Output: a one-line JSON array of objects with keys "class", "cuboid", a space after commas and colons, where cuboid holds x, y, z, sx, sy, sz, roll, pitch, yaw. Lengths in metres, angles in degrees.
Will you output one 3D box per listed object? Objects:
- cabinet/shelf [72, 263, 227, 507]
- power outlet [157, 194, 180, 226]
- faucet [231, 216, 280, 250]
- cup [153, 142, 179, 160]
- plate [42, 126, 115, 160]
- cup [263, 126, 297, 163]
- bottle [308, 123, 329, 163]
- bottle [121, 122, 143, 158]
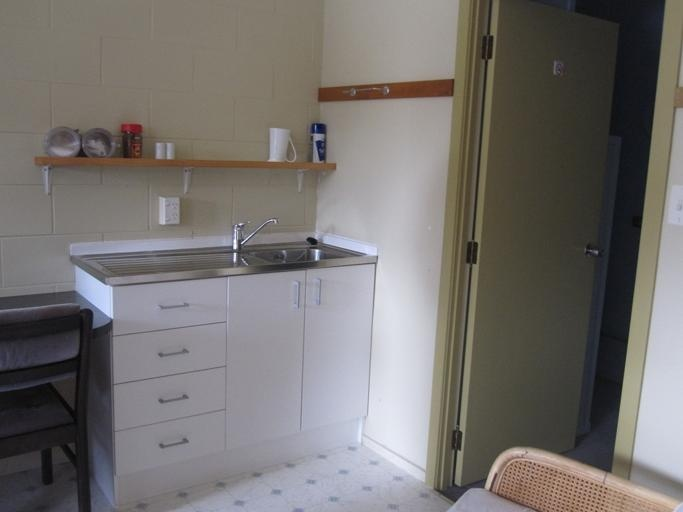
[{"class": "cabinet/shelf", "cuboid": [-0.975, 0.620, 2.940, 0.737, 1.126, 0.735, 0, 8, -10]}, {"class": "power outlet", "cuboid": [-0.972, -0.258, 3.083, 0.157, 0.225, 0.072, -4, 6, -40]}, {"class": "faucet", "cuboid": [-0.540, -0.130, 3.355, 0.129, 0.164, 0.321, 8, 12, 43]}, {"class": "cup", "cuboid": [-0.955, -0.564, 2.989, 0.098, 0.095, 0.100, 2, 5, 0]}, {"class": "plate", "cuboid": [-1.320, -0.572, 2.789, 0.321, 0.143, 0.059, -6, 10, -32]}, {"class": "cup", "cuboid": [-0.349, -0.672, 3.360, 0.240, 0.201, 0.172, -6, 10, -32]}, {"class": "bottle", "cuboid": [-0.142, -0.698, 3.438, 0.105, 0.241, 0.183, -1, 9, -8]}, {"class": "bottle", "cuboid": [-1.100, -0.597, 2.891, 0.097, 0.166, 0.047, -2, 9, -13]}]
